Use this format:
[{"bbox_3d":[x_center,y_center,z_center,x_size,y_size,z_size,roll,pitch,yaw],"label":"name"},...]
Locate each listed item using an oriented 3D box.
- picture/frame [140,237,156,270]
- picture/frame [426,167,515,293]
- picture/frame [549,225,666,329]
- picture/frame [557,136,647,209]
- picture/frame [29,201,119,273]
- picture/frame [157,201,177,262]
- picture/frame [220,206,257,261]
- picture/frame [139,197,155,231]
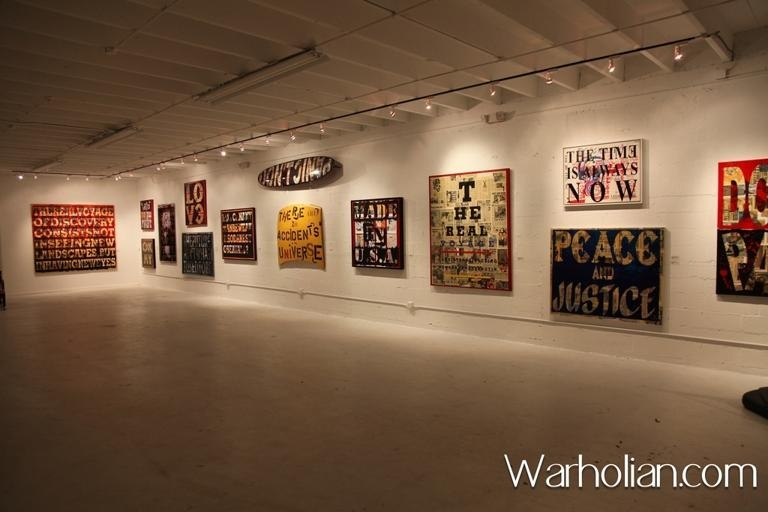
[{"bbox_3d":[-7.870,-0.089,15.994,1.001,1.231,0.087,2,3,40],"label":"picture/frame"},{"bbox_3d":[1.615,-0.479,8.613,2.174,3.023,0.103,0,0,31],"label":"picture/frame"},{"bbox_3d":[3.589,0.325,7.533,1.540,1.384,0.170,3,5,34],"label":"picture/frame"},{"bbox_3d":[3.490,-1.316,7.524,1.098,1.008,0.114,2,4,32],"label":"picture/frame"},{"bbox_3d":[-9.976,-0.608,15.182,2.180,2.183,0.213,-5,6,-43],"label":"picture/frame"},{"bbox_3d":[-6.840,-0.708,15.091,1.153,1.876,0.288,12,19,42],"label":"picture/frame"},{"bbox_3d":[-3.778,-0.600,12.513,0.135,1.292,1.313,-6,9,-43],"label":"picture/frame"},{"bbox_3d":[-7.834,-1.395,15.854,0.079,1.163,1.007,-5,7,-42],"label":"picture/frame"}]
